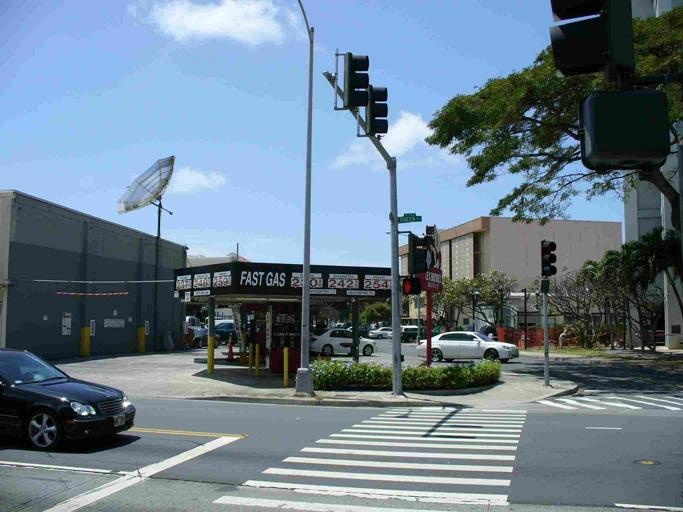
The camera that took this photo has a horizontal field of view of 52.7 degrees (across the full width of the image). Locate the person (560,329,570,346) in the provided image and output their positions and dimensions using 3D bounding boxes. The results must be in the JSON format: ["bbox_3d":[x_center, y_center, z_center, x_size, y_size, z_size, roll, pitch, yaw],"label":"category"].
[{"bbox_3d":[16.620,6.042,51.276,0.592,1.130,2.427,0,-2,21],"label":"person"}]

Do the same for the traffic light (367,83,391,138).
[{"bbox_3d":[0.851,-3.465,16.528,0.487,1.192,0.823,1,-2,1],"label":"traffic light"}]

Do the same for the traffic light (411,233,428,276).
[{"bbox_3d":[2.243,-0.081,19.970,0.538,1.140,0.356,1,-2,-2],"label":"traffic light"}]

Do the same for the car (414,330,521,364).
[{"bbox_3d":[6.348,4.424,33.714,3.739,1.445,0.854,0,-2,9],"label":"car"}]
